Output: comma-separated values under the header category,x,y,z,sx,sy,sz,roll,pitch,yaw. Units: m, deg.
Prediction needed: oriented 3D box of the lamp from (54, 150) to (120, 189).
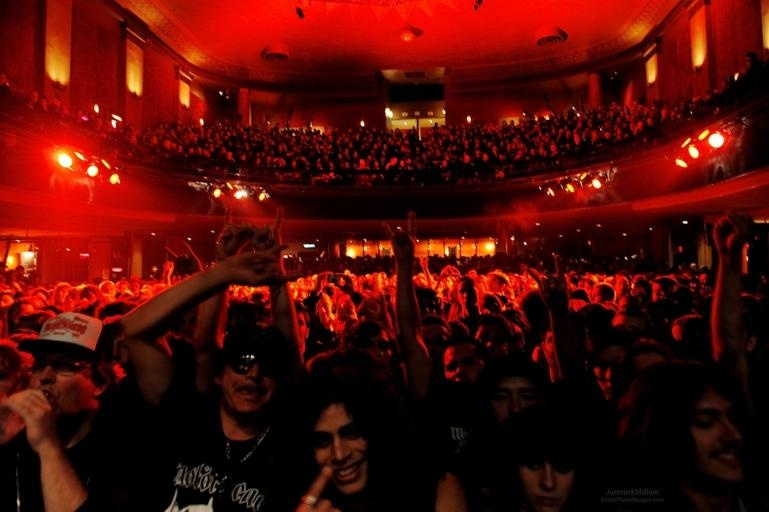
category,x,y,z,sx,sy,sz,roll,pitch,yaw
lamp,-8.797,-2.575,15.173,1.273,0.423,1.377,-1,-6,40

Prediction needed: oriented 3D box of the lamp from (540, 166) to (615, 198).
category,x,y,z,sx,sy,sz,roll,pitch,yaw
lamp,7.398,-2.833,19.838,1.081,1.212,3.351,-8,11,-16

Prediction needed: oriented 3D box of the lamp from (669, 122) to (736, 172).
category,x,y,z,sx,sy,sz,roll,pitch,yaw
lamp,8.482,-2.967,14.064,1.926,0.550,0.510,-23,-18,33

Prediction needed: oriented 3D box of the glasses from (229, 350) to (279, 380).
category,x,y,z,sx,sy,sz,roll,pitch,yaw
glasses,-0.903,0.735,3.503,0.208,0.070,0.206,13,-33,-11

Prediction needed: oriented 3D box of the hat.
category,x,y,z,sx,sy,sz,roll,pitch,yaw
hat,-2.180,0.563,3.543,0.429,0.210,0.319,15,-9,-20

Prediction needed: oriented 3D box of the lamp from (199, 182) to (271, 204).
category,x,y,z,sx,sy,sz,roll,pitch,yaw
lamp,-6.125,-2.597,21.210,2.758,1.024,1.701,-8,11,-20
